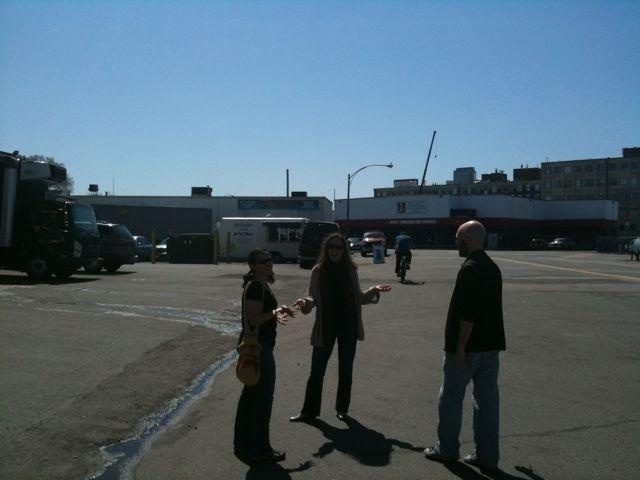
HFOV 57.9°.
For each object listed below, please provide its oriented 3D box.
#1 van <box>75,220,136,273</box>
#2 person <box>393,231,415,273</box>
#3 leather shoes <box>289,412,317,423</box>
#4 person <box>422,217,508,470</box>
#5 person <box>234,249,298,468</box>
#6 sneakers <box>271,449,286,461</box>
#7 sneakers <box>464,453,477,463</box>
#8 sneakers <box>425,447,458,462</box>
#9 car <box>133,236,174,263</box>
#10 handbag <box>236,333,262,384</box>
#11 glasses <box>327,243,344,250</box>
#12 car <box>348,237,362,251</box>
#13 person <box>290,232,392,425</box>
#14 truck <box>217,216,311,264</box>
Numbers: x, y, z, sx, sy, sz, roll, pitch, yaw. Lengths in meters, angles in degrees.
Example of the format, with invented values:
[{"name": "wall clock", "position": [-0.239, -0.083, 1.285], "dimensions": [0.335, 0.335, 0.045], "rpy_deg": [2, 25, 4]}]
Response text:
[{"name": "van", "position": [-9.466, 0.246, 24.901], "dimensions": [3.106, 1.669, 1.485], "rpy_deg": [1, 6, 18]}, {"name": "person", "position": [3.078, 0.548, 21.367], "dimensions": [0.555, 1.640, 0.891], "rpy_deg": [0, 3, 4]}, {"name": "leather shoes", "position": [-0.183, 2.000, 6.560], "dimensions": [0.321, 0.140, 0.114], "rpy_deg": [4, -9, 6]}, {"name": "person", "position": [1.427, 0.993, 5.607], "dimensions": [0.683, 2.335, 0.442], "rpy_deg": [1, 3, 17]}, {"name": "person", "position": [-0.596, 1.115, 5.831], "dimensions": [0.570, 2.041, 0.648], "rpy_deg": [-1, 3, -8]}, {"name": "sneakers", "position": [-0.401, 2.105, 5.648], "dimensions": [0.139, 0.077, 0.144], "rpy_deg": [0, 3, -1]}, {"name": "sneakers", "position": [1.450, 2.108, 5.579], "dimensions": [0.130, 0.099, 0.048], "rpy_deg": [-1, 1, 8]}, {"name": "sneakers", "position": [1.183, 2.081, 5.687], "dimensions": [0.295, 0.138, 0.122], "rpy_deg": [10, 4, 29]}, {"name": "car", "position": [-9.912, 0.539, 34.061], "dimensions": [1.584, 1.490, 3.217], "rpy_deg": [-1, 3, -8]}, {"name": "handbag", "position": [-0.691, 1.176, 5.666], "dimensions": [0.228, 0.517, 0.229], "rpy_deg": [-1, 3, -6]}, {"name": "glasses", "position": [0.184, 0.074, 6.604], "dimensions": [0.150, 0.052, 0.033], "rpy_deg": [0, 3, -2]}, {"name": "car", "position": [3.459, 0.352, 57.993], "dimensions": [1.394, 1.309, 2.386], "rpy_deg": [-2, -11, 10]}, {"name": "person", "position": [0.114, 0.984, 6.632], "dimensions": [0.778, 2.105, 0.436], "rpy_deg": [0, 3, -4]}, {"name": "truck", "position": [-3.581, -0.022, 34.899], "dimensions": [5.076, 2.755, 1.769], "rpy_deg": [0, 7, -14]}]
